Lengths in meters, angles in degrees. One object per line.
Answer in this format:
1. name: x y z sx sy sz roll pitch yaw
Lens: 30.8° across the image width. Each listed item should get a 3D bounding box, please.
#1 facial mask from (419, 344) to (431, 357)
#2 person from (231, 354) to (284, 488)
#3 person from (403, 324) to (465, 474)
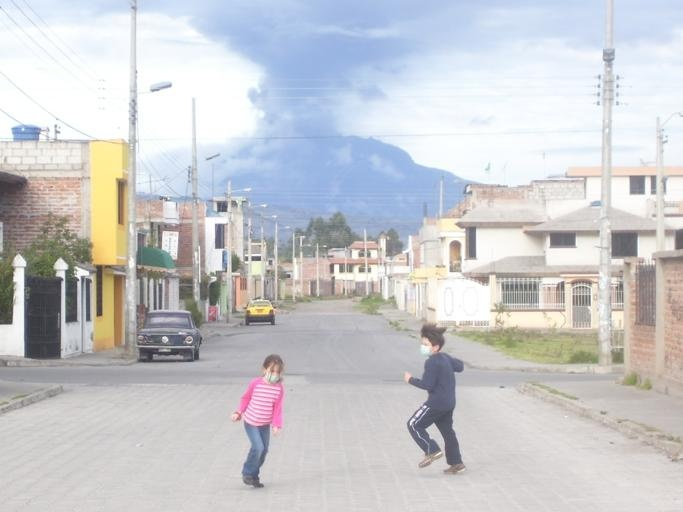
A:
1. facial mask: 1.528 1.745 22.705 0.230 0.176 0.218 2 0 -16
2. person: -1.513 2.904 21.976 0.960 2.175 0.703 4 -1 -13
3. person: 1.620 2.620 23.073 1.194 2.634 1.248 2 -1 39
